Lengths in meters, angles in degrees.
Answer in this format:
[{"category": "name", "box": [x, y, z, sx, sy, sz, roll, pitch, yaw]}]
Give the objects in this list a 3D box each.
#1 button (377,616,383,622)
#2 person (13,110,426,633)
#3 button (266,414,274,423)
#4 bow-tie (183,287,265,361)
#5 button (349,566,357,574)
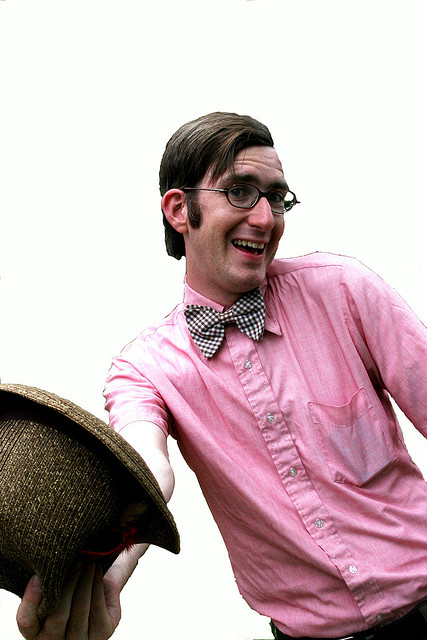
[{"category": "button", "box": [0.518, 0.923, 2.053, 0.020, 0.016, 0.004, -1, 5, -13]}, {"category": "person", "box": [0.192, 0.164, 2.266, 1.025, 1.761, 0.814, -26, -33, 14]}, {"category": "button", "box": [0.189, 0.323, 2.177, 0.023, 0.027, 0.008, -13, -32, -5]}, {"category": "bow-tie", "box": [0.048, 0.020, 2.303, 0.257, 0.166, 0.028, -14, -1, 5]}, {"category": "button", "box": [0.436, 0.773, 2.054, 0.026, 0.024, 0.004, -10, -33, -10]}]
